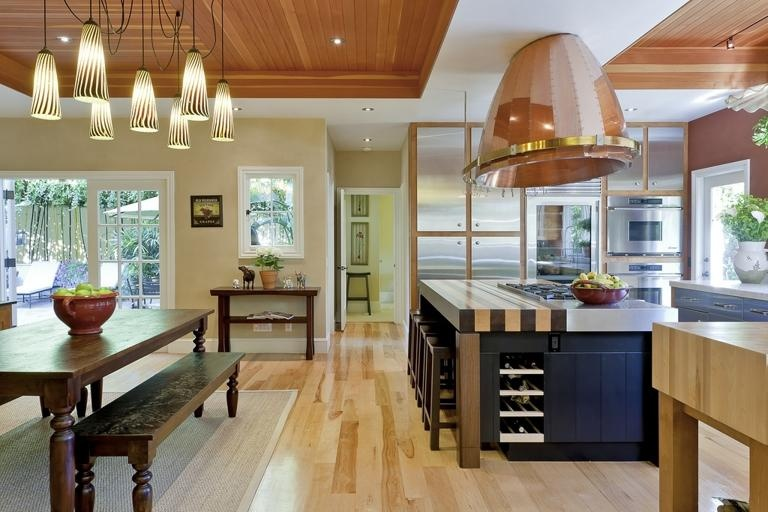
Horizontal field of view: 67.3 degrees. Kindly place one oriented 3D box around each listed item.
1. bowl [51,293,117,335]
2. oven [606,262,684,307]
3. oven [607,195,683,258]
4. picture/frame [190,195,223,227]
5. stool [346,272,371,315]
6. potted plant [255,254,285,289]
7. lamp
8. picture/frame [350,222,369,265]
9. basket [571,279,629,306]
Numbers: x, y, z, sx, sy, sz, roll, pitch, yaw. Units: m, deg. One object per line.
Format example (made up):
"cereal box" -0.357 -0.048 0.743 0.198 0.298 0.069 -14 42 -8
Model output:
"bowl" -2.288 0.446 4.404 0.443 0.292 0.590 -4 -3 20
"oven" 3.251 0.323 7.263 0.751 0.665 0.514 -1 20 13
"oven" 3.188 -0.373 7.271 0.936 0.761 0.484 0 1 -3
"picture/frame" -2.170 -0.553 6.968 0.410 0.387 0.027 0 -1 -5
"stool" -0.457 0.636 10.161 0.423 0.657 0.492 0 11 -3
"potted plant" -1.389 0.162 6.903 0.331 0.458 0.329 -2 11 -11
"lamp" -2.308 -1.719 5.247 1.372 1.417 1.196 -2 -5 29
"picture/frame" -0.468 -0.235 10.404 0.339 0.776 0.078 0 1 -20
"basket" 1.711 0.285 4.563 0.414 0.186 0.147 0 11 -3
